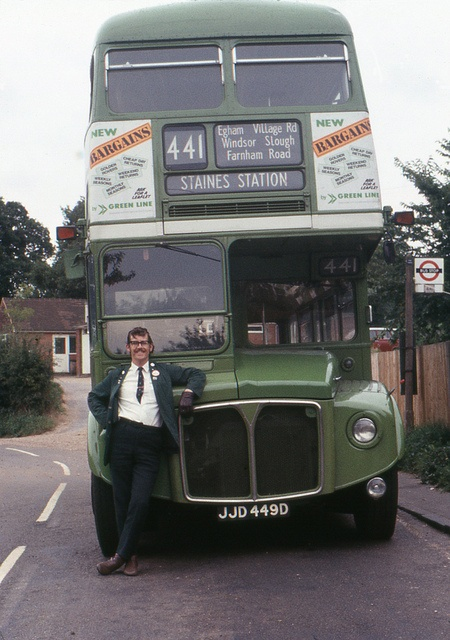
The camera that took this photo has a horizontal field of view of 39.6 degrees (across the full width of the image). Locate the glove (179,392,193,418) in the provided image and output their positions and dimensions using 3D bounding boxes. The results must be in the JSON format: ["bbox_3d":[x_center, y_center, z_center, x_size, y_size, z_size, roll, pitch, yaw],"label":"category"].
[{"bbox_3d":[-0.281,0.611,4.500,0.115,0.154,0.064,-1,-12,8],"label":"glove"}]

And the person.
[{"bbox_3d":[-0.575,0.950,4.544,0.792,1.787,0.452,-2,-2,-14],"label":"person"}]

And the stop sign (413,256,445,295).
[{"bbox_3d":[3.470,-0.755,10.575,0.468,0.422,0.422,-2,-2,15],"label":"stop sign"}]

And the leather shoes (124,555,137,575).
[{"bbox_3d":[-0.667,1.744,4.429,0.104,0.112,0.184,-2,-2,-10],"label":"leather shoes"}]

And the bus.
[{"bbox_3d":[0.137,-0.652,5.447,2.667,5.202,1.946,-2,-2,-11],"label":"bus"}]

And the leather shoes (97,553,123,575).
[{"bbox_3d":[-0.814,1.745,4.449,0.182,0.166,0.196,-2,-2,-15],"label":"leather shoes"}]
